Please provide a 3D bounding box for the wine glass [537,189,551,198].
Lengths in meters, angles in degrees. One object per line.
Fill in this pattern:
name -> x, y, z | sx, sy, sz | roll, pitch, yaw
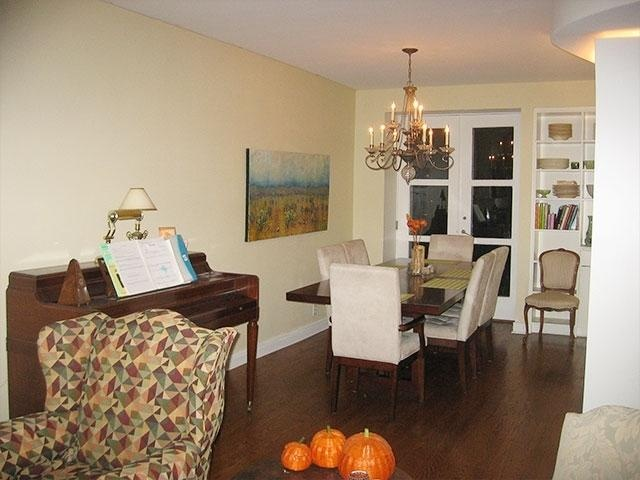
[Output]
wine glass -> 2.846, -0.604, 6.115 | 0.128, 0.089, 0.132 | -3, 4, -11

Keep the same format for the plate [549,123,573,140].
plate -> 2.988, -1.363, 5.996 | 0.215, 0.171, 0.235 | 4, 8, 27

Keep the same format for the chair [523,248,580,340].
chair -> 2.869, 0.634, 5.939 | 0.565, 1.049, 0.799 | 4, 7, 29

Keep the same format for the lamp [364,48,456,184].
lamp -> 0.985, -1.400, 5.343 | 0.894, 1.393, 0.941 | 7, 19, 28

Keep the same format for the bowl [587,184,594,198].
bowl -> 3.359, -0.621, 5.997 | 0.054, 0.148, 0.114 | 0, 7, 1

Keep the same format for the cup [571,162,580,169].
cup -> 3.167, -0.934, 5.975 | 0.078, 0.060, 0.081 | -1, 5, 0

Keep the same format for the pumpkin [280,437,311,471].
pumpkin -> -0.102, 0.978, 2.262 | 0.133, 0.147, 0.139 | 1, -6, 11

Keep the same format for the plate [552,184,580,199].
plate -> 3.052, -0.625, 5.971 | 0.212, 0.132, 0.212 | 0, 2, 22

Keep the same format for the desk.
desk -> 0.765, 0.787, 4.742 | 1.321, 1.019, 2.112 | 4, 7, 28

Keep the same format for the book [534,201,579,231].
book -> 2.970, -0.307, 6.083 | 0.494, 0.332, 0.164 | 3, 7, 19

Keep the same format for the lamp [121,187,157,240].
lamp -> -1.367, -0.197, 3.594 | 0.226, 0.391, 0.538 | -2, 7, -22

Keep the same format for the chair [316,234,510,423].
chair -> 1.018, 0.698, 4.513 | 1.040, 1.192, 1.802 | 2, 5, 29

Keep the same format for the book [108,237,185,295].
book -> -1.197, 0.146, 3.281 | 0.099, 0.360, 0.524 | -27, -9, 26
